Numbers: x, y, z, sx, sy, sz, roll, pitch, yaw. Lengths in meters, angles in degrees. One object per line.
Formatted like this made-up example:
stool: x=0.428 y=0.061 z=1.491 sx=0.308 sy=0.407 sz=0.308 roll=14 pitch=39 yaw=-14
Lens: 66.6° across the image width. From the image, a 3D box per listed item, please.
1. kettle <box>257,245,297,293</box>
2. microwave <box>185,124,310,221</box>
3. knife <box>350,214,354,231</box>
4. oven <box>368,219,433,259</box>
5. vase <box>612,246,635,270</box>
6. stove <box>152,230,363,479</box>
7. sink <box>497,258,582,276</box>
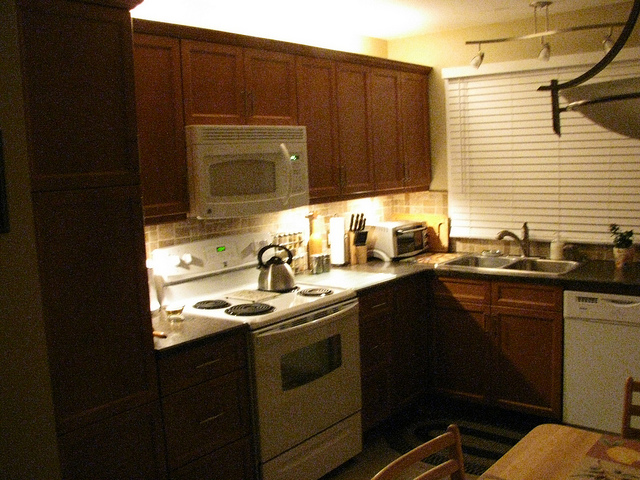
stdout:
kettle: x=-0.323 y=0.190 z=3.235 sx=0.287 sy=0.306 sz=0.312 roll=-8 pitch=-8 yaw=28
microwave: x=-0.506 y=-0.454 z=3.155 sx=0.831 sy=0.526 sz=0.508 roll=-9 pitch=17 yaw=-34
knife: x=0.259 y=-0.140 z=3.967 sx=0.038 sy=0.130 sz=0.061 roll=-4 pitch=9 yaw=3
oven: x=0.704 y=-0.020 z=4.276 sx=0.274 sy=0.312 sz=0.628 roll=3 pitch=11 yaw=40
vase: x=2.168 y=0.134 z=3.499 sx=0.168 sy=0.177 sz=0.167 roll=2 pitch=-4 yaw=10
stove: x=-0.306 y=0.701 z=3.054 sx=0.796 sy=1.429 sz=0.885 roll=3 pitch=11 yaw=38
sink: x=1.671 y=0.212 z=3.722 sx=0.263 sy=0.113 sz=0.324 roll=0 pitch=4 yaw=38
